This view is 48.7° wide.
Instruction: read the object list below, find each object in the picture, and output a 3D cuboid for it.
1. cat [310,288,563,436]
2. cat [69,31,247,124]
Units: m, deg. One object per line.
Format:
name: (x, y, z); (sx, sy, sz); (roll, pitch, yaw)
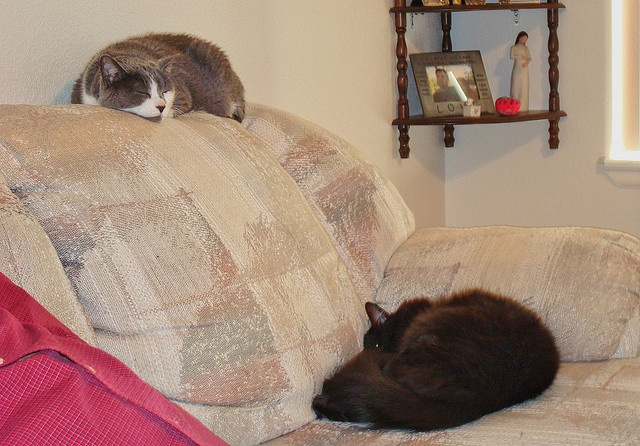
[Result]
cat: (0.214, 0.257, 1.320); (0.333, 0.151, 0.260); (-13, 15, -6)
cat: (-0.361, -0.390, 1.597); (0.230, 0.170, 0.351); (-16, 46, -25)
